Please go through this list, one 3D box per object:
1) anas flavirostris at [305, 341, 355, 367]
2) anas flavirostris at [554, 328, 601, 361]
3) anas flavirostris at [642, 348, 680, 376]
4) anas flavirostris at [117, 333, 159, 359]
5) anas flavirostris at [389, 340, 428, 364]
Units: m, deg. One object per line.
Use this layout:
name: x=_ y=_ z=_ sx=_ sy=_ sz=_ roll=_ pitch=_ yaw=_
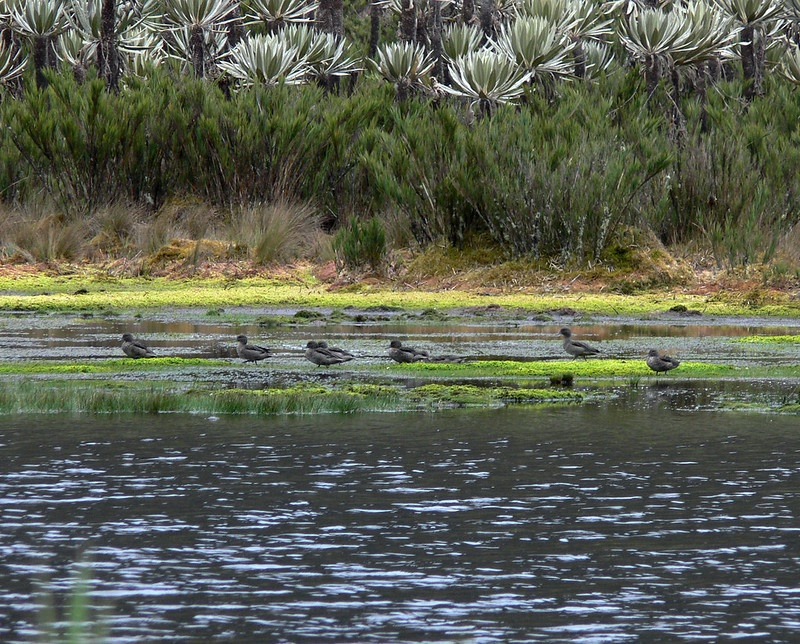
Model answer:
anas flavirostris: x=-0.819 y=0.399 z=22.295 sx=0.636 sy=0.322 sz=0.271 roll=5 pitch=6 yaw=26
anas flavirostris: x=2.197 y=0.299 z=22.994 sx=0.631 sy=0.405 sz=0.259 roll=14 pitch=8 yaw=9
anas flavirostris: x=3.141 y=0.474 z=21.737 sx=0.410 sy=0.270 sz=0.232 roll=2 pitch=2 yaw=-12
anas flavirostris: x=-3.342 y=0.363 z=22.922 sx=0.539 sy=0.348 sz=0.300 roll=12 pitch=26 yaw=31
anas flavirostris: x=0.102 y=0.371 z=22.432 sx=0.432 sy=0.268 sz=0.247 roll=3 pitch=-4 yaw=3
